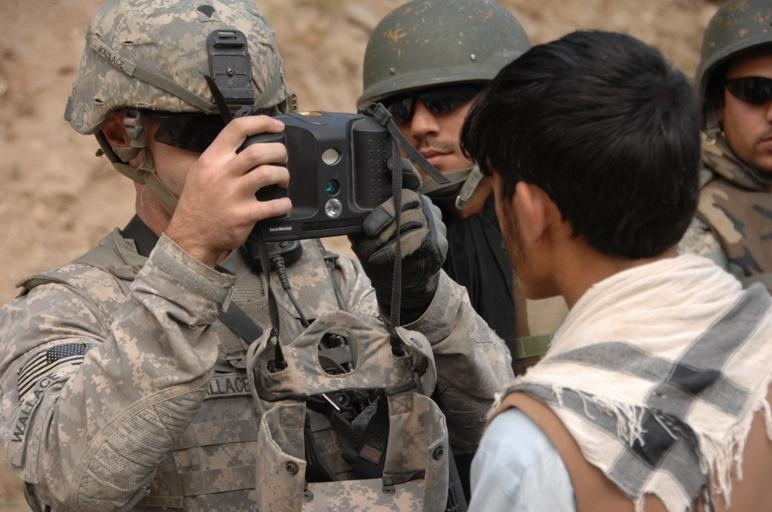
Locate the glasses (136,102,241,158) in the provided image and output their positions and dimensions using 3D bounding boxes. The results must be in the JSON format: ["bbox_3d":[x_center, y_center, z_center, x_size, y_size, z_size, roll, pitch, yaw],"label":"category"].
[{"bbox_3d":[-0.757,-0.486,4.037,0.244,0.120,0.194,5,1,33],"label":"glasses"}]

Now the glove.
[{"bbox_3d":[0.025,0.012,4.031,0.377,0.476,0.222,-35,30,-25],"label":"glove"}]
